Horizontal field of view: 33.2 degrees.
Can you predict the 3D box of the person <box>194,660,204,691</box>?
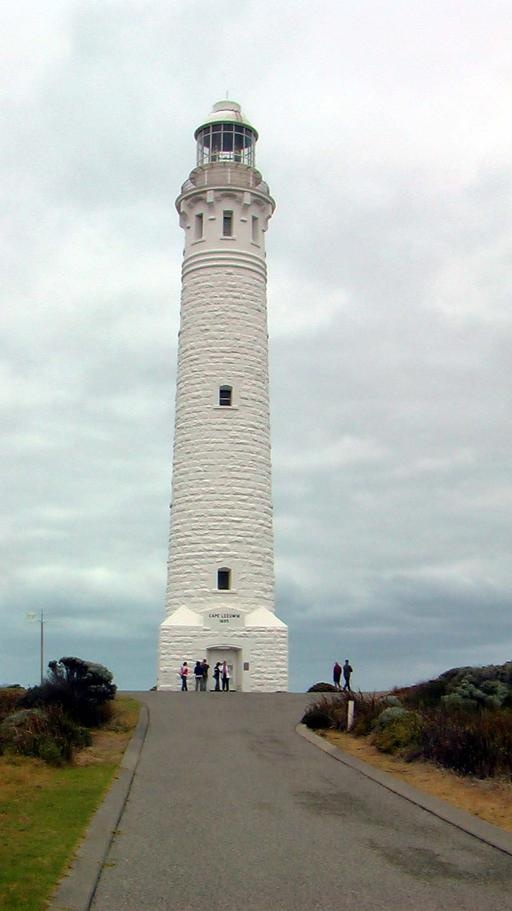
[{"bbox_3d":[-2.113,8.335,32.483,0.337,1.045,1.064,3,-9,-4],"label":"person"}]
